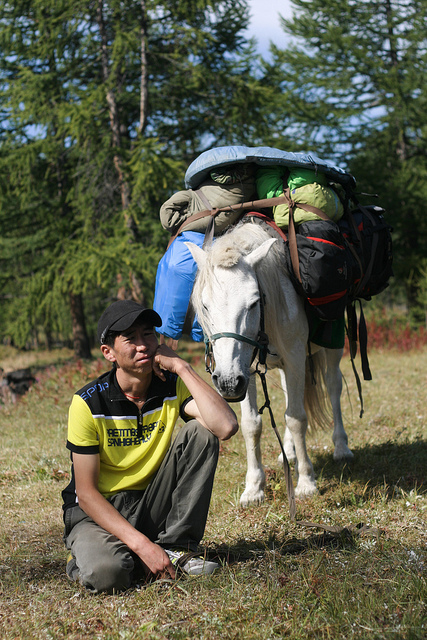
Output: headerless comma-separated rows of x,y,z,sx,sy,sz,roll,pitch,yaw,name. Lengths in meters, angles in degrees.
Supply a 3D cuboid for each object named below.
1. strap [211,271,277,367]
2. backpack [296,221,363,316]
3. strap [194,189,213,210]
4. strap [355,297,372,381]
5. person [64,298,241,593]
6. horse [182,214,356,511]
0.222,0.016,5.554,0.381,0.490,0.342,-8,-14,31,strap
0.908,-0.376,6.243,0.478,0.737,0.582,-2,4,23,backpack
-0.075,-0.947,6.447,0.055,0.052,0.349,35,20,-36,strap
1.347,0.177,7.352,0.110,0.750,0.199,-6,15,10,strap
-0.404,0.727,4.871,1.005,1.667,0.676,-3,6,-11,person
0.552,0.299,6.700,0.845,2.145,2.861,-8,-1,19,horse
